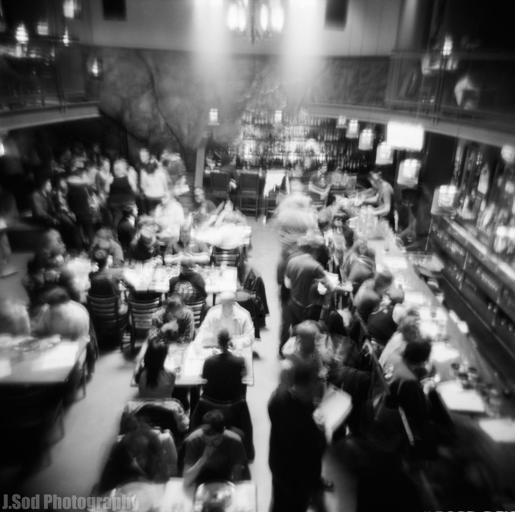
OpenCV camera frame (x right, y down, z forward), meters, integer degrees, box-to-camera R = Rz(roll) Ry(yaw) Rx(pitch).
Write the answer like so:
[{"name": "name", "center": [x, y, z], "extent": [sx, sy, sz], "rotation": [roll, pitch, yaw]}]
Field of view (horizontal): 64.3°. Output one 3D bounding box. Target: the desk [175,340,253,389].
[{"name": "desk", "center": [-0.459, 1.073, 4.386], "extent": [0.783, 0.403, 0.768], "rotation": [5, 23, 2]}]
